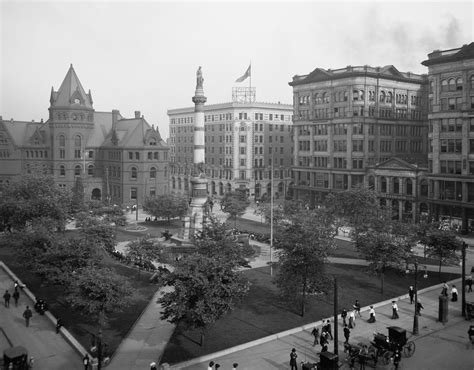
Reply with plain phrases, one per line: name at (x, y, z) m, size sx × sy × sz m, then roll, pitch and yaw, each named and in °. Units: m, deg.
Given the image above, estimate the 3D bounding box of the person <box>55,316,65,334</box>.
person at (-17.077, 13.346, 50.675) m, size 0.680 × 1.420 × 1.630 m, roll 0°, pitch 0°, yaw -18°

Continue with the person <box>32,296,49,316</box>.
person at (-20.126, 12.425, 54.042) m, size 1.666 × 1.520 × 0.689 m, roll 0°, pitch 0°, yaw 34°

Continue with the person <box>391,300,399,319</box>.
person at (15.831, 12.464, 53.092) m, size 0.670 × 1.770 × 1.009 m, roll 0°, pitch 0°, yaw 17°
